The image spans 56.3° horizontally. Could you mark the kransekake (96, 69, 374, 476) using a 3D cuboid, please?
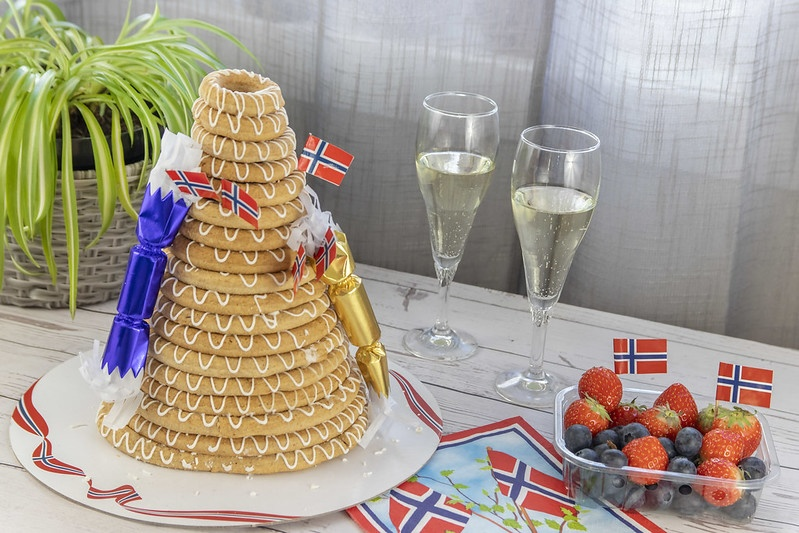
[{"bbox_3d":[-0.213,0.005,1.075,0.424,0.557,0.178,3,13,-4],"label":"kransekake"}]

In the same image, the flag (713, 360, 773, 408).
[{"bbox_3d":[0.514,0.181,1.133,0.090,0.059,0.004,10,-5,7],"label":"flag"}]

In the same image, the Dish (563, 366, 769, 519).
[{"bbox_3d":[0.356,0.252,1.084,0.263,0.105,0.170,2,30,5],"label":"Dish"}]

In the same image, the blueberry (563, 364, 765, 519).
[{"bbox_3d":[0.379,0.249,1.075,0.264,0.105,0.169,2,33,3],"label":"blueberry"}]

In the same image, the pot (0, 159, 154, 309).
[{"bbox_3d":[-0.569,-0.073,1.428,0.255,0.198,0.273,0,13,0],"label":"pot"}]

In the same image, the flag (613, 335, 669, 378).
[{"bbox_3d":[0.379,0.145,1.187,0.087,0.057,0.022,0,0,3],"label":"flag"}]

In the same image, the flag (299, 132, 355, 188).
[{"bbox_3d":[-0.113,-0.159,1.111,0.078,0.054,0.003,20,6,-26],"label":"flag"}]

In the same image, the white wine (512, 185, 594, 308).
[{"bbox_3d":[0.226,-0.024,1.150,0.103,0.201,0.100,15,17,39],"label":"white wine"}]

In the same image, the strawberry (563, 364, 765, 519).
[{"bbox_3d":[0.373,0.246,1.075,0.264,0.105,0.169,2,33,3],"label":"strawberry"}]

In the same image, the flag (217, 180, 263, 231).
[{"bbox_3d":[-0.216,-0.085,1.012,0.056,0.066,0.006,19,20,6],"label":"flag"}]

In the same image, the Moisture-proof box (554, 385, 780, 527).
[{"bbox_3d":[0.378,0.278,1.100,0.311,0.145,0.169,6,13,10],"label":"Moisture-proof box"}]
